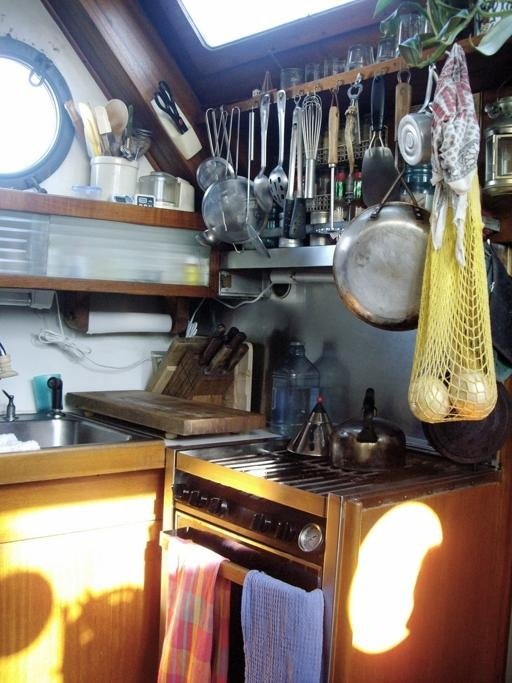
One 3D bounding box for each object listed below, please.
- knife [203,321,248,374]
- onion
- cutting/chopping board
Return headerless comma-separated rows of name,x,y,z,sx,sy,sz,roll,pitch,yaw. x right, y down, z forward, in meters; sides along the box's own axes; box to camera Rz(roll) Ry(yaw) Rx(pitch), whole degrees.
knife,-0.110,0.016,2.060,0.128,0.185,0.114,9,10,42
onion,0.340,0.089,0.943,0.133,0.107,0.089,2,0,-23
cutting/chopping board,-0.316,0.254,1.940,0.367,0.137,0.737,1,0,-45
